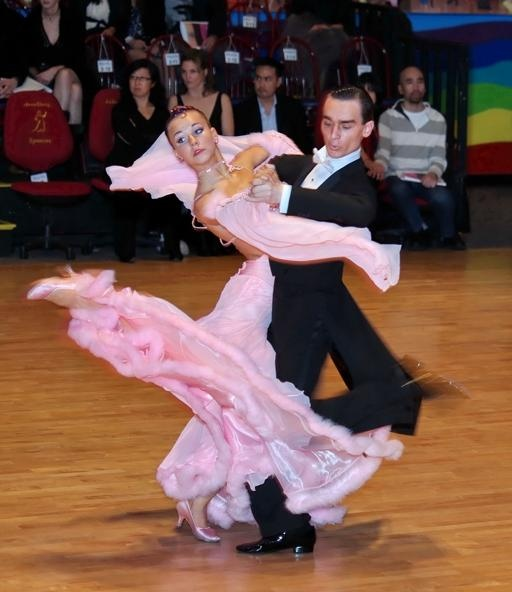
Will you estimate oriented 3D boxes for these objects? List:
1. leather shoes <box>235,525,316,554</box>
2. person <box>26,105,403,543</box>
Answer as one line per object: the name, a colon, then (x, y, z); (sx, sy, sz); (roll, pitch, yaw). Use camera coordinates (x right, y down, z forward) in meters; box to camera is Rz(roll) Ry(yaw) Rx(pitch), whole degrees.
leather shoes: (0.053, 0.503, 1.307); (0.199, 0.060, 0.056); (2, 4, -3)
person: (-0.074, 0.071, 1.400); (0.716, 0.947, 0.522); (-1, 10, -5)
